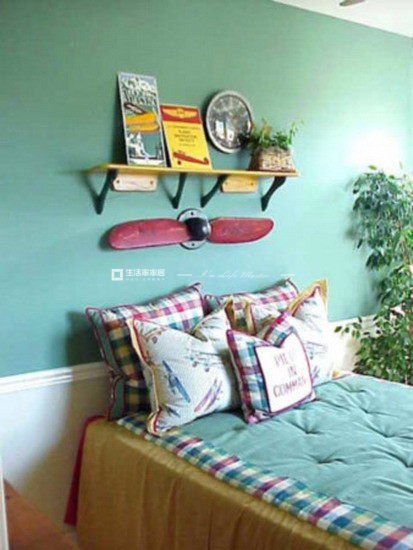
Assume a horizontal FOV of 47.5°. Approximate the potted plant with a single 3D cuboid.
[{"bbox_3d":[0.338,-0.699,2.508,0.363,0.346,0.298,-3,16,-14],"label":"potted plant"}]
